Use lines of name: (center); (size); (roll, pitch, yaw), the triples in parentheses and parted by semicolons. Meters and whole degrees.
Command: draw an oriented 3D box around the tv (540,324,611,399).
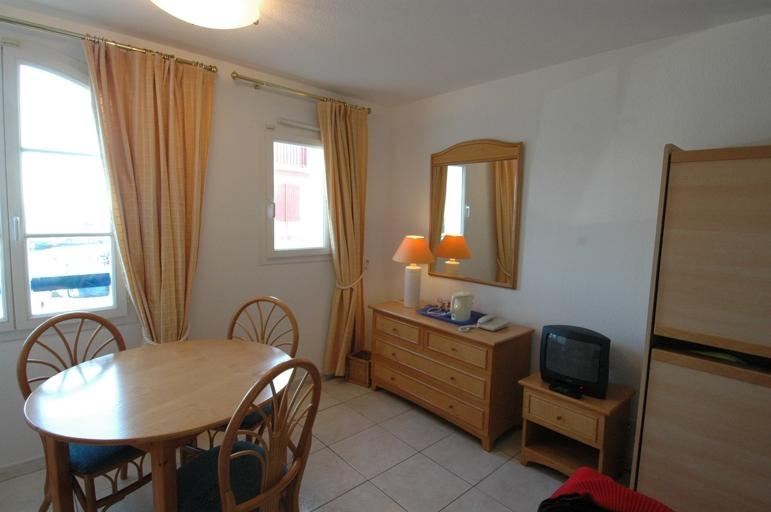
tv: (1.407, 0.741, 4.160); (0.457, 0.610, 0.592); (-1, 2, -42)

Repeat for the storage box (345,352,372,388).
storage box: (-0.208, 1.093, 5.363); (0.327, 0.285, 0.264); (9, 13, 40)

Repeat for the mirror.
mirror: (0.825, -0.380, 4.846); (1.134, 1.585, 0.157); (13, 18, 43)

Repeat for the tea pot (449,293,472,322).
tea pot: (0.640, 0.436, 4.618); (0.243, 0.252, 0.149); (-9, 15, -39)
